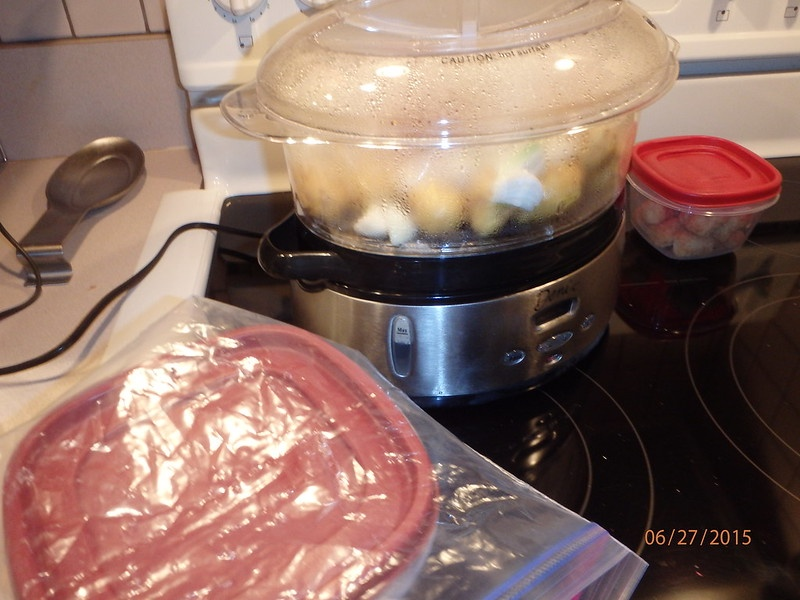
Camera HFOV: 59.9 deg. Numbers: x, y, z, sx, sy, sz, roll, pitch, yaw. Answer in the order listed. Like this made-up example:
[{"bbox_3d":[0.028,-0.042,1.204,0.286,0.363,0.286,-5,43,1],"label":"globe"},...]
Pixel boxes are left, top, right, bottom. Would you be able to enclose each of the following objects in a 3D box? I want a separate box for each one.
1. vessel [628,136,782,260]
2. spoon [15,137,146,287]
[{"bbox_3d":[0.353,-0.114,0.843,0.144,0.100,0.176,-6,50,-3],"label":"vessel"},{"bbox_3d":[-0.415,-0.110,0.893,0.112,0.030,0.246,-1,35,2],"label":"spoon"}]
